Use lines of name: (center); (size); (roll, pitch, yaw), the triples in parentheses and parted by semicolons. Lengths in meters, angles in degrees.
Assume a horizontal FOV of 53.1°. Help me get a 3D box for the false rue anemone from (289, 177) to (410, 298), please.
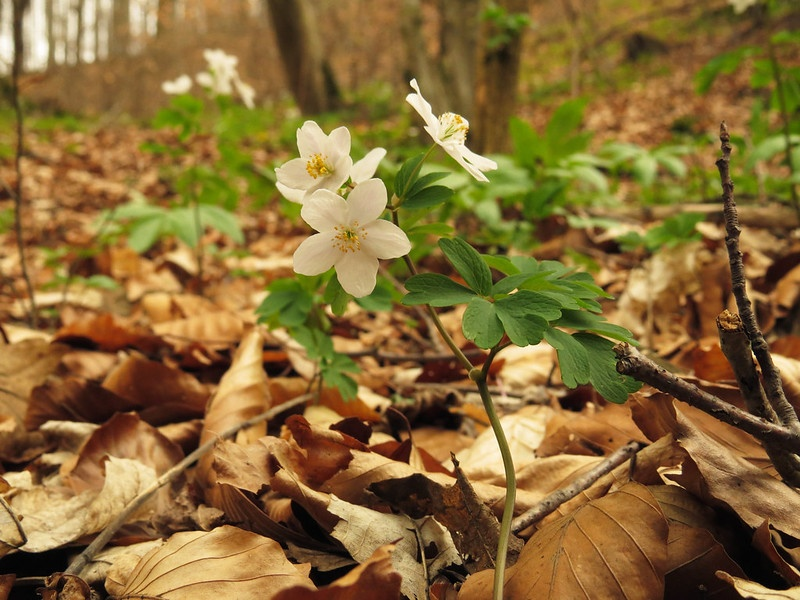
false rue anemone: (-0.188, -0.231, 2.657); (0.374, 0.379, 0.082); (-38, 60, 1)

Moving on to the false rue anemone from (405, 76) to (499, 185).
false rue anemone: (0.182, -0.522, 2.802); (0.400, 0.150, 0.329); (26, 29, -30)
